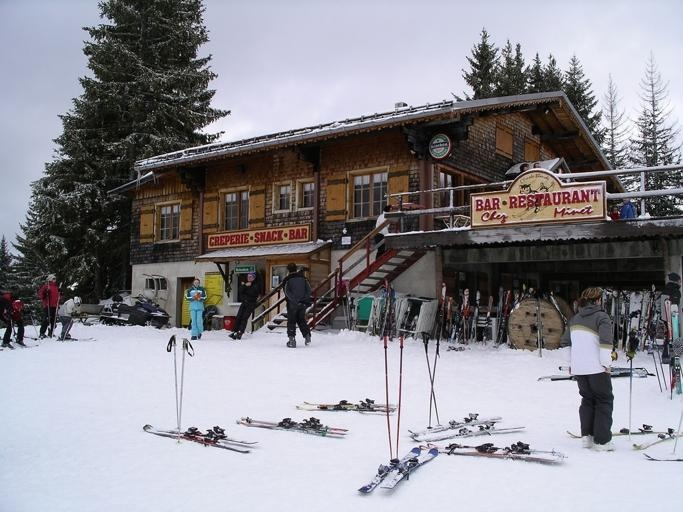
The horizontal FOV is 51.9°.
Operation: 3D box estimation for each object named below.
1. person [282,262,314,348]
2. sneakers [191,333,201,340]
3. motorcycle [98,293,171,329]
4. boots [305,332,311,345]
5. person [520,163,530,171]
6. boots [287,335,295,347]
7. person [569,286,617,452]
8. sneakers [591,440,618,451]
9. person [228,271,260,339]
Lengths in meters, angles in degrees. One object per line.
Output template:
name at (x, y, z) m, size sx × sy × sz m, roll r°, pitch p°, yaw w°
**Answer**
person at (-1.159, 1.364, 19.053) m, size 0.702 × 2.155 × 1.430 m, roll 0°, pitch 6°, yaw -4°
sneakers at (-4.190, 2.382, 20.269) m, size 0.213 × 0.243 × 0.121 m, roll 5°, pitch -14°, yaw -12°
motorcycle at (-7.368, 2.117, 25.440) m, size 2.271 × 1.248 × 1.193 m, roll -3°, pitch -7°, yaw 17°
boots at (-0.905, 2.290, 19.013) m, size 0.181 × 0.323 × 0.276 m, roll 0°, pitch 7°, yaw -3°
person at (6.439, -3.069, 24.571) m, size 0.343 × 0.262 × 1.675 m, roll 2°, pitch 7°, yaw 14°
boots at (-1.302, 2.307, 18.499) m, size 0.216 × 0.275 × 0.359 m, roll -1°, pitch 7°, yaw -8°
person at (3.965, 1.777, 11.084) m, size 0.619 × 2.396 × 0.844 m, roll 2°, pitch 6°, yaw 15°
sneakers at (4.059, 2.944, 10.831) m, size 0.344 × 0.176 × 0.132 m, roll 0°, pitch -4°, yaw -21°
person at (-2.842, 1.516, 20.783) m, size 0.813 × 2.018 × 1.552 m, roll -1°, pitch 7°, yaw -6°
